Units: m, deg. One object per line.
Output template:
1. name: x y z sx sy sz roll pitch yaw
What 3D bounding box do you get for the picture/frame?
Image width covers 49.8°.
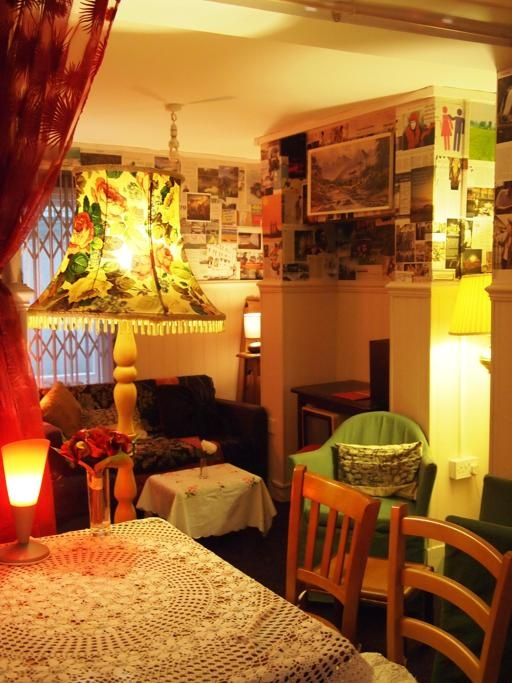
1. picture/frame: 0.610 -1.123 3.779 0.882 0.500 0.029 -19 23 -34

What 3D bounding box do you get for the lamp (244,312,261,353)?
1. lamp: -0.051 -0.082 5.200 0.138 0.394 0.281 1 -3 -4

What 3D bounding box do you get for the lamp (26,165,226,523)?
1. lamp: -0.306 -0.090 1.322 0.395 0.678 0.363 -3 -4 41
